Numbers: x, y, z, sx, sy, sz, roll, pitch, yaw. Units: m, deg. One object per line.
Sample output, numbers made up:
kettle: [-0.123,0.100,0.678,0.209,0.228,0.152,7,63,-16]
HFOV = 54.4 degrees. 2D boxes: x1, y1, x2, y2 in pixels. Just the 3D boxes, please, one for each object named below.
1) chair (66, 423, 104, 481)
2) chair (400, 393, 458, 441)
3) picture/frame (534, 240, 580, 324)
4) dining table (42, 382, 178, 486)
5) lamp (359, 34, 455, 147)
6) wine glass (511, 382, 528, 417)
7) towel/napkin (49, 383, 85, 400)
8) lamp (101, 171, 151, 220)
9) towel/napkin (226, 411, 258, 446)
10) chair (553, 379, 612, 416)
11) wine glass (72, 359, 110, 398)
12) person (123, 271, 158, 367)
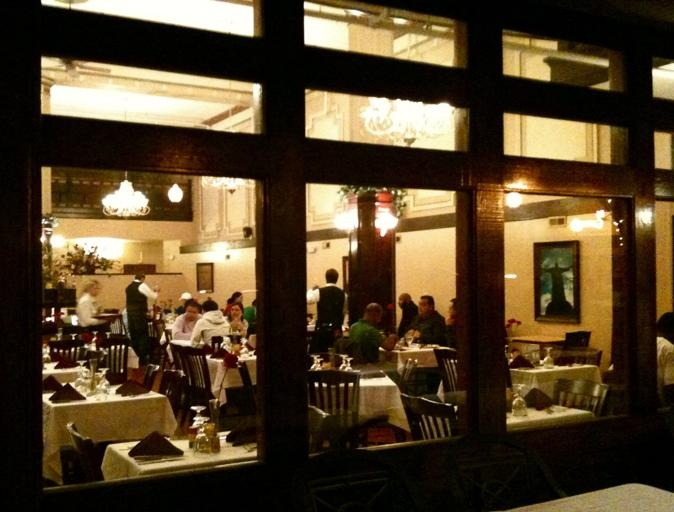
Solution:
chair: [-1.327,1.095,3.476,0.156,0.178,0.679,-2,-1,-23]
chair: [0.562,1.035,4.165,0.229,0.257,0.741,-2,-1,-10]
picture/frame: [1.459,0.186,4.348,0.516,0.545,0.135,-2,-1,-44]
dining table: [-1.661,1.225,4.831,0.789,0.427,0.792,5,-10,-30]
lamp: [0.380,-0.792,3.615,0.676,0.507,0.179,13,-7,-20]
wine glass: [1.171,0.931,4.218,0.094,0.192,0.211,-3,-1,18]
towel/napkin: [-2.042,1.035,4.963,0.158,0.078,0.160,2,-6,-14]
lamp: [-2.316,-0.629,7.175,0.431,0.678,0.440,2,-3,-17]
towel/napkin: [-0.503,0.909,3.475,0.145,0.071,0.198,-27,-2,0]
chair: [1.672,0.962,4.488,0.226,0.364,0.243,-4,-12,39]
wine glass: [-1.949,1.000,5.264,0.247,0.253,0.256,1,-6,-2]
person: [-2.191,0.675,7.387,0.324,0.981,0.300,6,8,34]
